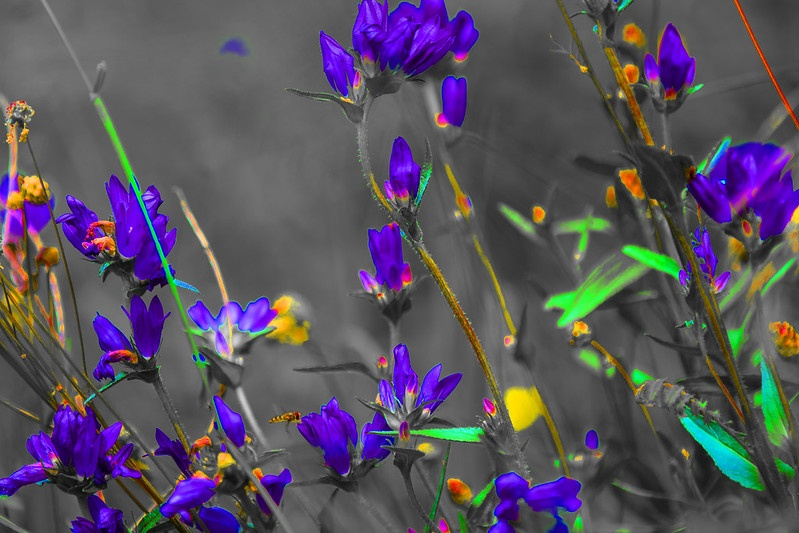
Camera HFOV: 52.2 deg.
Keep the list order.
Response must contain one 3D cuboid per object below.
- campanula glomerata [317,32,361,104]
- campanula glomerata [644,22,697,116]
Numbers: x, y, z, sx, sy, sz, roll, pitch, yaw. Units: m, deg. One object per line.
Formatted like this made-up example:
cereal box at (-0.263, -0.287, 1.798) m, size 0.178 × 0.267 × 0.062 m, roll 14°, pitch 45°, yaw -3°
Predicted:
campanula glomerata at (-0.052, -0.183, 0.729) m, size 0.027 × 0.028 × 0.086 m, roll -18°, pitch -24°, yaw -1°
campanula glomerata at (0.239, -0.172, 0.725) m, size 0.040 × 0.084 × 0.030 m, roll 6°, pitch 18°, yaw 12°
